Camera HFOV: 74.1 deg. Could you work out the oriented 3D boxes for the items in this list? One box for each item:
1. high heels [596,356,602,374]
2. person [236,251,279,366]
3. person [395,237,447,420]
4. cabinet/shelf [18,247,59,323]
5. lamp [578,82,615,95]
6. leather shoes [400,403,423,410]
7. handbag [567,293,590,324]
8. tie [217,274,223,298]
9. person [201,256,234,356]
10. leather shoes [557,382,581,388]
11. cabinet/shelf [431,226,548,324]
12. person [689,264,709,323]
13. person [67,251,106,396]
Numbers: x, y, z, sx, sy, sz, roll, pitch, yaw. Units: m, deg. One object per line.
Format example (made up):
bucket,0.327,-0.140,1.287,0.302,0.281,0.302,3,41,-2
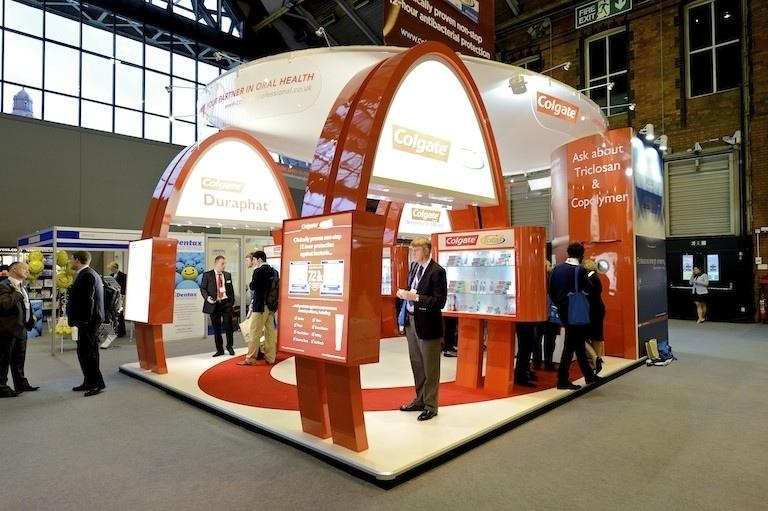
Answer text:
high heels,3.454,1.761,8.188,0.124,0.300,0.093,-1,-1,-2
person,-2.187,0.927,8.891,0.604,1.934,0.729,4,13,19
person,0.497,0.964,6.740,0.636,2.306,0.874,0,13,4
cabinet/shelf,-8.779,0.692,13.487,1.066,1.978,1.142,4,1,22
lamp,6.579,-5.194,15.725,0.920,0.395,2.194,6,14,24
leather shoes,0.369,2.036,6.903,0.321,0.118,0.117,3,-8,2
handbag,2.841,0.773,7.453,0.313,0.469,0.214,3,13,16
tie,-2.982,0.555,9.198,0.127,0.425,0.152,-5,13,-18
person,-3.146,0.976,9.600,0.540,1.990,0.845,-5,13,-19
leather shoes,2.716,1.919,7.483,0.292,0.122,0.125,-2,-3,1
cabinet/shelf,1.486,0.266,7.747,1.639,1.361,0.620,-1,7,30
person,8.796,1.065,14.106,0.470,1.405,0.864,3,13,14
person,-4.546,1.019,7.708,0.451,2.081,0.676,-4,13,-16
